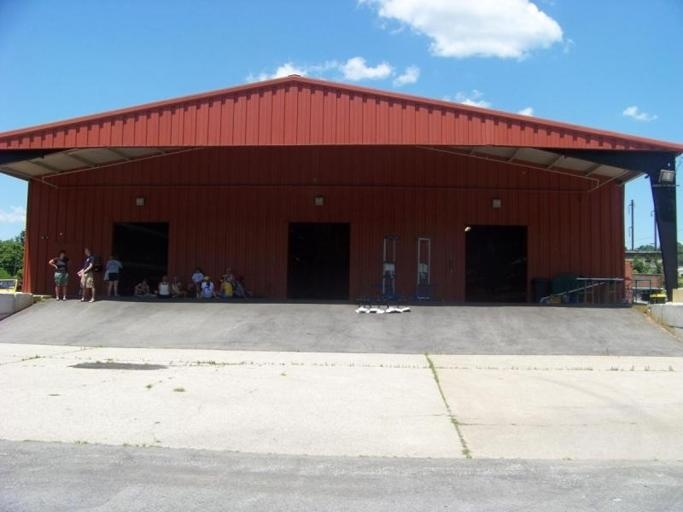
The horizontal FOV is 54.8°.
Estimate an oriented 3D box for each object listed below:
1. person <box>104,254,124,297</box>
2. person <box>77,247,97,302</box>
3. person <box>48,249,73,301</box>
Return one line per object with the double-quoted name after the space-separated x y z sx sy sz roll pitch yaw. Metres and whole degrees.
-7.641 0.679 22.061 0.532 1.303 1.876 0 1 -20 "person"
-8.145 0.605 21.208 0.507 1.604 2.693 0 1 -21 "person"
-9.157 0.614 21.503 0.522 1.546 2.153 0 1 -23 "person"
